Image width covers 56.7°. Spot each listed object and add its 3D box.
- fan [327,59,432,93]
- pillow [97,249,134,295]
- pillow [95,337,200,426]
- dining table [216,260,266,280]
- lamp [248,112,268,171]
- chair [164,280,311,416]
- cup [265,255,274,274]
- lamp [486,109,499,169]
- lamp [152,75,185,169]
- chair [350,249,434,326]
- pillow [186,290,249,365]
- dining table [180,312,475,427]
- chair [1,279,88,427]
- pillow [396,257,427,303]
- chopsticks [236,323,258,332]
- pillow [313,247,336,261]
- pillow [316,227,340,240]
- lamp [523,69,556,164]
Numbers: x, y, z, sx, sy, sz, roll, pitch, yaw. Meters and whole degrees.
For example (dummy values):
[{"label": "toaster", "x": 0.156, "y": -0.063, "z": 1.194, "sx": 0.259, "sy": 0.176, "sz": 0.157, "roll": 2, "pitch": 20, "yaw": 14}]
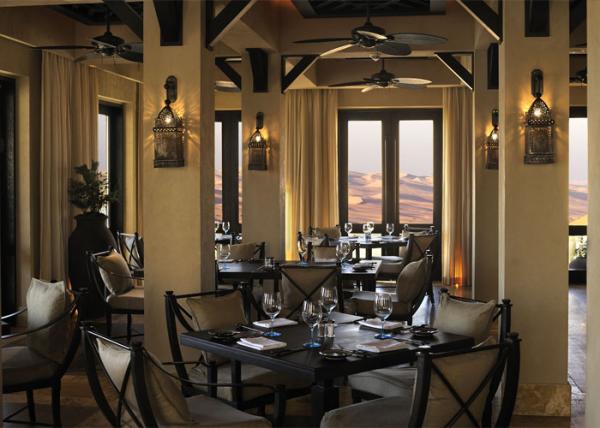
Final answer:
[{"label": "fan", "x": 1.198, "y": -2.117, "z": 8.074, "sx": 1.349, "sy": 0.480, "sz": 1.310, "roll": -1, "pitch": 14, "yaw": 13}, {"label": "pillow", "x": -2.135, "y": 0.694, "z": 6.485, "sx": 0.277, "sy": 0.489, "sz": 0.571, "roll": -1, "pitch": 5, "yaw": 5}, {"label": "pillow", "x": -1.007, "y": 1.028, "z": 3.398, "sx": 0.694, "sy": 0.524, "sz": 0.268, "roll": 0, "pitch": 1, "yaw": 30}, {"label": "dining table", "x": -0.714, "y": 0.710, "z": 6.691, "sx": 0.556, "sy": 0.264, "sz": 0.914, "roll": -1, "pitch": 0, "yaw": -9}, {"label": "lamp", "x": -0.605, "y": -1.038, "z": 7.841, "sx": 0.286, "sy": 0.822, "sz": 0.164, "roll": -1, "pitch": 1, "yaw": -1}, {"label": "chair", "x": -0.459, "y": 1.203, "z": 4.435, "sx": 0.920, "sy": 1.178, "sz": 0.952, "roll": -4, "pitch": -2, "yaw": -30}, {"label": "cup", "x": -0.365, "y": 0.604, "z": 6.517, "sx": 0.135, "sy": 0.262, "sz": 0.141, "roll": 1, "pitch": -8, "yaw": 0}, {"label": "lamp", "x": 2.578, "y": -1.014, "z": 7.476, "sx": 0.150, "sy": 0.808, "sz": 0.152, "roll": 0, "pitch": 1, "yaw": 10}, {"label": "lamp", "x": -1.285, "y": -0.908, "z": 5.393, "sx": 0.312, "sy": 0.901, "sz": 0.142, "roll": -1, "pitch": 1, "yaw": -3}, {"label": "chair", "x": 1.021, "y": 0.885, "z": 6.433, "sx": 0.854, "sy": 0.788, "sz": 0.639, "roll": 1, "pitch": -1, "yaw": 8}, {"label": "pillow", "x": -0.664, "y": 0.904, "z": 4.530, "sx": 0.504, "sy": 0.518, "sz": 0.152, "roll": -4, "pitch": -22, "yaw": -39}, {"label": "dining table", "x": 0.243, "y": 0.984, "z": 3.928, "sx": 1.056, "sy": 0.661, "sz": 1.035, "roll": 2, "pitch": -3, "yaw": -41}, {"label": "chair", "x": -2.111, "y": 1.170, "z": 4.556, "sx": 0.648, "sy": 1.207, "sz": 0.611, "roll": -1, "pitch": 1, "yaw": -13}, {"label": "pillow", "x": 1.243, "y": 0.753, "z": 6.280, "sx": 0.257, "sy": 0.402, "sz": 0.509, "roll": 3, "pitch": 2, "yaw": 10}, {"label": "chopsticks", "x": -0.416, "y": 0.893, "z": 4.338, "sx": 0.107, "sy": 0.025, "sz": 0.026, "roll": 12, "pitch": 3, "yaw": 15}, {"label": "pillow", "x": 0.307, "y": 0.489, "z": 6.968, "sx": 0.271, "sy": 0.152, "sz": 0.114, "roll": -1, "pitch": 1, "yaw": 1}, {"label": "pillow", "x": 0.460, "y": 0.314, "z": 9.231, "sx": 0.249, "sy": 0.111, "sz": 0.258, "roll": -2, "pitch": -37, "yaw": 9}, {"label": "lamp", "x": 2.110, "y": -0.878, "z": 4.912, "sx": 0.256, "sy": 0.861, "sz": 0.114, "roll": 0, "pitch": 1, "yaw": 14}]
